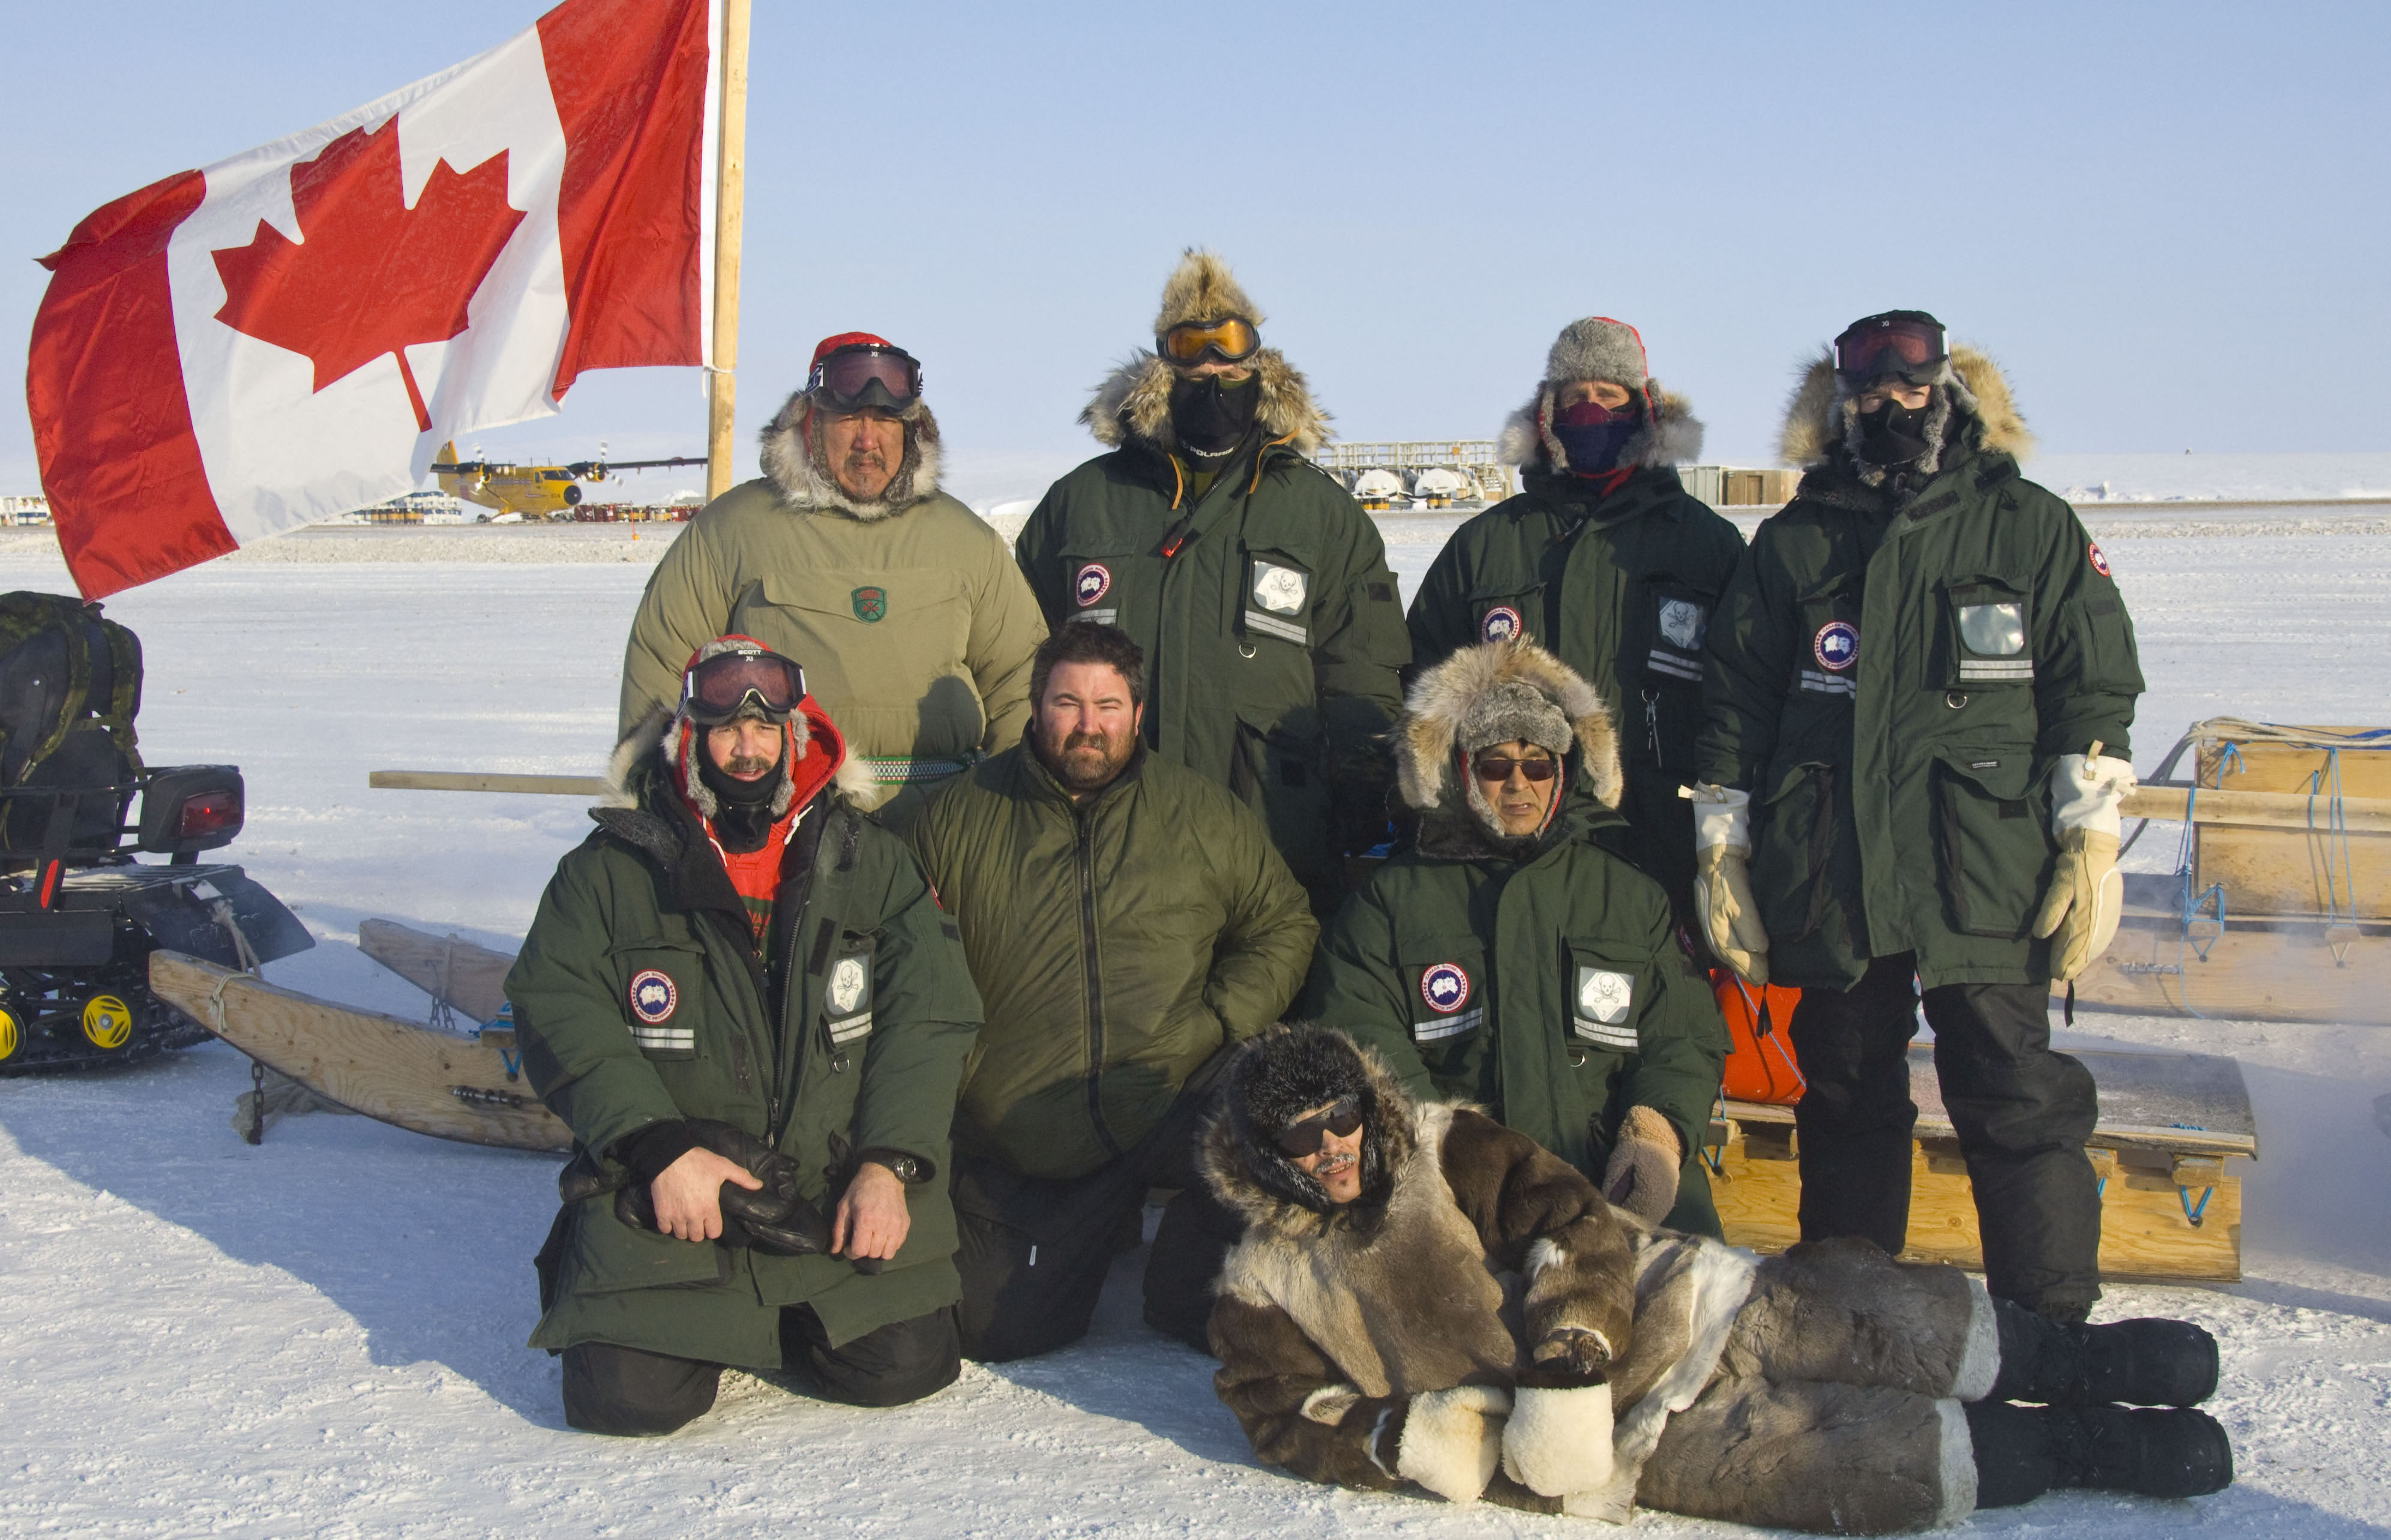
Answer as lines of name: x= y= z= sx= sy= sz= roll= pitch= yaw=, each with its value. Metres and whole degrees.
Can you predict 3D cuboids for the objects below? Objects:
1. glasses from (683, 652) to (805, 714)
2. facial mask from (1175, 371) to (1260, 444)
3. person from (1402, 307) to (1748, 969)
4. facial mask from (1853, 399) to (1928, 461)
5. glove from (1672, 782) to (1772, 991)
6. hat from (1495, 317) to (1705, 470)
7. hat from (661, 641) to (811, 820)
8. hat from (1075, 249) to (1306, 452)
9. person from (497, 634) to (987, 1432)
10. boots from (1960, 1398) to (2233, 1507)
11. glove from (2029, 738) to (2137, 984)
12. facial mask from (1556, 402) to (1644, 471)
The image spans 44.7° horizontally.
glasses: x=-1.444 y=-0.295 z=9.288 sx=0.225 sy=0.125 sz=0.271 roll=-2 pitch=-2 yaw=-21
facial mask: x=0.056 y=-1.325 z=10.447 sx=0.250 sy=0.221 sz=0.270 roll=0 pitch=5 yaw=3
person: x=1.362 y=-0.195 z=10.419 sx=1.506 sy=2.715 sz=1.074 roll=2 pitch=3 yaw=9
facial mask: x=2.274 y=-1.125 z=9.512 sx=0.172 sy=0.177 sz=0.215 roll=-3 pitch=7 yaw=23
glove: x=1.786 y=0.386 z=9.740 sx=0.266 sy=0.715 sz=0.236 roll=-2 pitch=-2 yaw=16
hat: x=1.429 y=-1.323 z=10.439 sx=0.713 sy=0.547 sz=0.422 roll=-1 pitch=-11 yaw=9
hat: x=-1.442 y=-0.096 z=9.427 sx=0.409 sy=0.505 sz=0.480 roll=-5 pitch=-25 yaw=-6
hat: x=0.029 y=-1.595 z=10.688 sx=0.850 sy=0.649 sz=0.741 roll=-4 pitch=15 yaw=-14
person: x=-1.429 y=0.805 z=9.279 sx=1.430 sy=2.436 sz=0.669 roll=0 pitch=8 yaw=-10
boots: x=2.722 y=2.014 z=8.753 sx=0.925 sy=0.355 sz=0.313 roll=2 pitch=-8 yaw=-3
glove: x=2.856 y=0.300 z=9.373 sx=0.263 sy=0.775 sz=0.294 roll=4 pitch=8 yaw=17
facial mask: x=1.433 y=-1.210 z=10.348 sx=0.258 sy=0.211 sz=0.251 roll=2 pitch=7 yaw=16
